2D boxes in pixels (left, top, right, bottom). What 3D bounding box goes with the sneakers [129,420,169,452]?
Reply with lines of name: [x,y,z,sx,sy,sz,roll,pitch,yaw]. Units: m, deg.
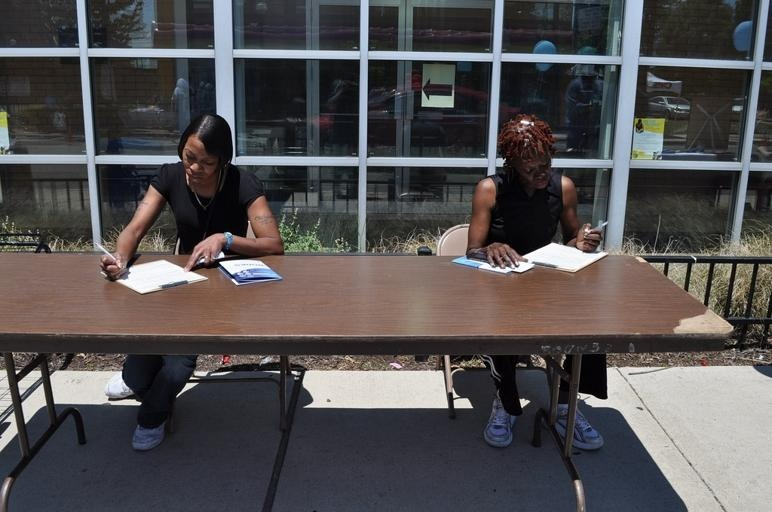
sneakers: [-1.606,1.236,4.176,0.122,0.151,0.245,3,-4,5]

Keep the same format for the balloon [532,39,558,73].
balloon: [1.728,-2.236,6.852,0.241,0.310,0.314,-11,22,-23]

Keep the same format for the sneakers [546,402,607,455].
sneakers: [1.317,1.181,4.281,0.173,0.217,0.496,0,8,-27]

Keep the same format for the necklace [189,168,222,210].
necklace: [-1.244,-0.446,4.204,0.192,0.261,0.063,5,28,2]
